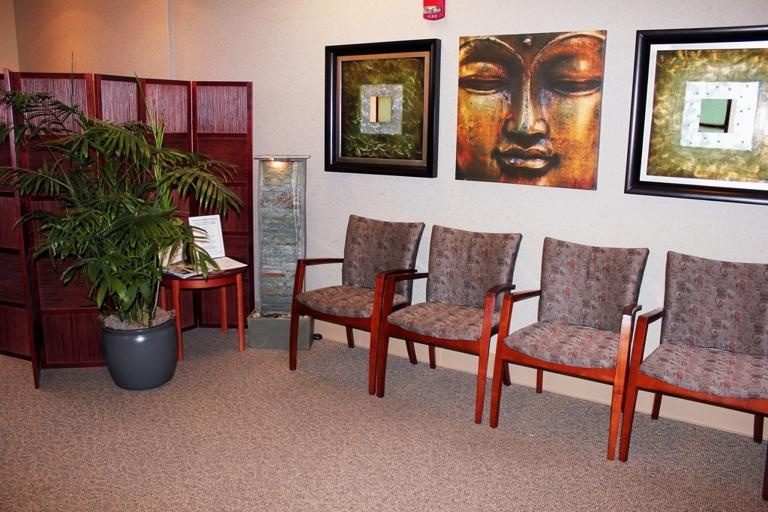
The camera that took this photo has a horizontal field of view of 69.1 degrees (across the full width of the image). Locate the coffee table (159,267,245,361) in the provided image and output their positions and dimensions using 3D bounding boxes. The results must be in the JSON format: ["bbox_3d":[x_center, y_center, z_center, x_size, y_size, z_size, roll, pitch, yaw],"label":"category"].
[{"bbox_3d":[-1.614,0.426,5.106,0.815,0.769,0.818,-3,7,-20],"label":"coffee table"}]

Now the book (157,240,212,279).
[{"bbox_3d":[-1.694,0.057,4.756,0.381,0.100,0.405,-11,16,-25],"label":"book"}]
